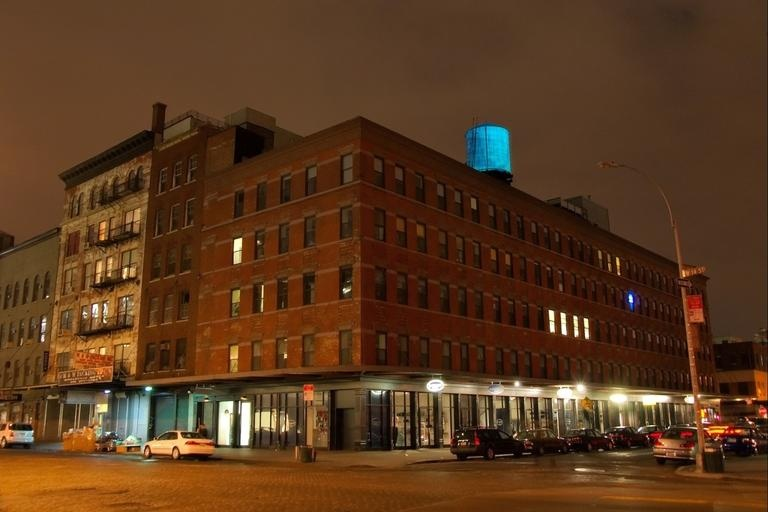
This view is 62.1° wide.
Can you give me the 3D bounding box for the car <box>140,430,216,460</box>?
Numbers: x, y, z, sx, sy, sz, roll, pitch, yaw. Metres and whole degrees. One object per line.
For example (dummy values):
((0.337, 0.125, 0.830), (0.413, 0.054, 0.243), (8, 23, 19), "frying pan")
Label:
((-13.666, 12.516, 42.469), (5.098, 1.785, 0.981), (-14, -26, 27), "car")
